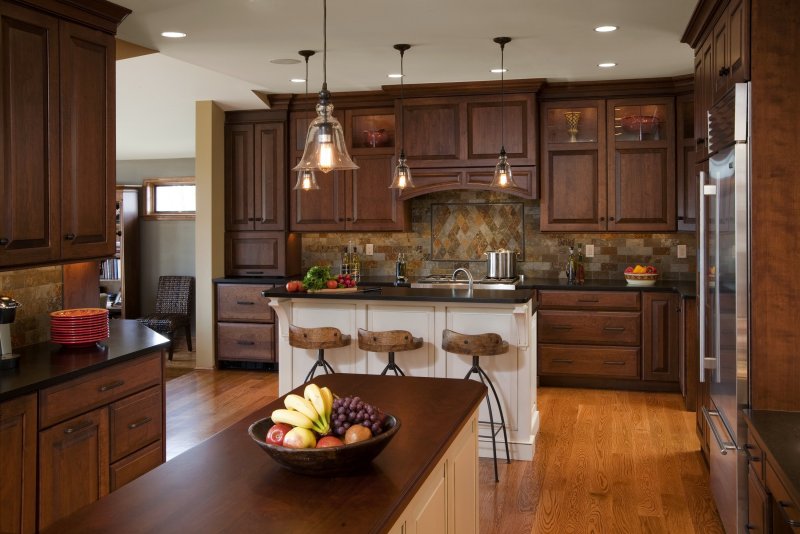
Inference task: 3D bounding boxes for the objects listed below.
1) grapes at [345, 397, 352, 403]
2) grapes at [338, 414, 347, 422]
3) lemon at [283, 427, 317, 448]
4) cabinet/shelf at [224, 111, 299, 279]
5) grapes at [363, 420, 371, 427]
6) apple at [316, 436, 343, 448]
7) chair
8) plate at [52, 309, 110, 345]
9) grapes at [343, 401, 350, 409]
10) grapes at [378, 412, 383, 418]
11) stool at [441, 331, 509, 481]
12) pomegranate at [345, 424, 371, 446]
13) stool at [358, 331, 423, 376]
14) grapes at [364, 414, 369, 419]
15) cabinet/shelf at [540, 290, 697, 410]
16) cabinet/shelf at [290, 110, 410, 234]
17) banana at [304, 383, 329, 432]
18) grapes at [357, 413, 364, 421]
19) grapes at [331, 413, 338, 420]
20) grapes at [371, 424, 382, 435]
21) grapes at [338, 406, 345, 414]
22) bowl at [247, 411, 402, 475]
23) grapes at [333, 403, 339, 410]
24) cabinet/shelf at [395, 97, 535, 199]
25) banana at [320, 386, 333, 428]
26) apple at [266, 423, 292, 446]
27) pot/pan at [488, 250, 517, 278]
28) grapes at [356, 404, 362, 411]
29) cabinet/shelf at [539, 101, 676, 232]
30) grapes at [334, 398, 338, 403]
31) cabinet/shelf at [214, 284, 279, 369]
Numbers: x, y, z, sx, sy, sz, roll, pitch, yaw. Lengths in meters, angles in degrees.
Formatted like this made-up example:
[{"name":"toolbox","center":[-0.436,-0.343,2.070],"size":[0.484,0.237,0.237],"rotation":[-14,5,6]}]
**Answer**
[{"name":"grapes","center":[-0.216,0.550,2.608],"size":[0.026,0.013,0.026],"rotation":[2,4,4]},{"name":"grapes","center":[-0.236,0.612,2.537],"size":[0.026,0.021,0.020],"rotation":[1,2,1]},{"name":"lemon","center":[-0.399,0.676,2.491],"size":[0.128,0.072,0.068],"rotation":[-2,9,-11]},{"name":"cabinet/shelf","center":[-1.628,-0.854,7.885],"size":[1.006,2.005,0.822],"rotation":[3,9,15]},{"name":"grapes","center":[-0.135,0.630,2.539],"size":[0.024,0.013,0.023],"rotation":[1,2,-7]},{"name":"apple","center":[-0.280,0.683,2.492],"size":[0.062,0.034,0.053],"rotation":[-2,-1,33]},{"name":"chair","center":[-3.302,0.676,9.071],"size":[0.674,0.998,1.479],"rotation":[-4,9,-18]},{"name":"plate","center":[-2.059,0.361,4.139],"size":[0.269,0.149,0.284],"rotation":[-1,0,-6]},{"name":"grapes","center":[-0.220,0.565,2.577],"size":[0.022,0.026,0.022],"rotation":[-1,8,2]},{"name":"grapes","center":[-0.084,0.613,2.605],"size":[0.019,0.009,0.024],"rotation":[1,1,-14]},{"name":"stool","center":[0.613,1.051,5.056],"size":[0.600,1.207,0.581],"rotation":[-1,9,-3]},{"name":"pomegranate","center":[-0.170,0.661,2.513],"size":[0.077,0.093,0.079],"rotation":[4,-2,37]},{"name":"stool","center":[-0.080,0.705,5.104],"size":[0.504,0.416,0.462],"rotation":[-2,0,16]},{"name":"grapes","center":[-0.135,0.606,2.554],"size":[0.023,0.017,0.013],"rotation":[0,3,13]},{"name":"cabinet/shelf","center":[2.138,0.873,6.938],"size":[1.996,1.185,0.979],"rotation":[4,-10,-13]},{"name":"cabinet/shelf","center":[-0.603,-1.147,7.640],"size":[1.464,1.448,0.501],"rotation":[0,4,14]},{"name":"banana","center":[-0.351,0.583,2.595],"size":[0.097,0.174,0.061],"rotation":[-11,-23,-29]},{"name":"grapes","center":[-0.161,0.607,2.548],"size":[0.025,0.010,0.025],"rotation":[-5,0,-14]},{"name":"grapes","center":[-0.268,0.607,2.551],"size":[0.023,0.013,0.023],"rotation":[0,7,2]},{"name":"grapes","center":[-0.098,0.654,2.555],"size":[0.044,0.014,0.044],"rotation":[3,9,34]},{"name":"grapes","center":[-0.239,0.584,2.561],"size":[0.020,0.014,0.025],"rotation":[-5,5,-20]},{"name":"bowl","center":[-0.296,0.742,2.561],"size":[0.599,0.165,0.240],"rotation":[-2,9,-7]},{"name":"grapes","center":[-0.262,0.572,2.570],"size":[0.019,0.024,0.014],"rotation":[-8,-12,31]},{"name":"cabinet/shelf","center":[0.832,-1.343,7.201],"size":[1.644,1.171,0.640],"rotation":[5,16,30]},{"name":"banana","center":[-0.302,0.573,2.591],"size":[0.045,0.162,0.059],"rotation":[-2,-26,-12]},{"name":"apple","center":[-0.487,0.668,2.534],"size":[0.076,0.076,0.075],"rotation":[9,11,37]},{"name":"pot/pan","center":[1.139,-0.049,7.084],"size":[0.336,0.316,0.298],"rotation":[0,3,4]},{"name":"grapes","center":[-0.167,0.575,2.577],"size":[0.019,0.018,0.012],"rotation":[5,-5,-24]},{"name":"cabinet/shelf","center":[2.313,-1.098,6.813],"size":[1.454,1.353,0.555],"rotation":[0,-2,12]},{"name":"grapes","center":[-0.269,0.559,2.636],"size":[0.016,0.009,0.019],"rotation":[4,-3,-29]},{"name":"cabinet/shelf","center":[-1.824,0.652,7.808],"size":[0.933,1.069,0.881],"rotation":[1,3,-14]}]
